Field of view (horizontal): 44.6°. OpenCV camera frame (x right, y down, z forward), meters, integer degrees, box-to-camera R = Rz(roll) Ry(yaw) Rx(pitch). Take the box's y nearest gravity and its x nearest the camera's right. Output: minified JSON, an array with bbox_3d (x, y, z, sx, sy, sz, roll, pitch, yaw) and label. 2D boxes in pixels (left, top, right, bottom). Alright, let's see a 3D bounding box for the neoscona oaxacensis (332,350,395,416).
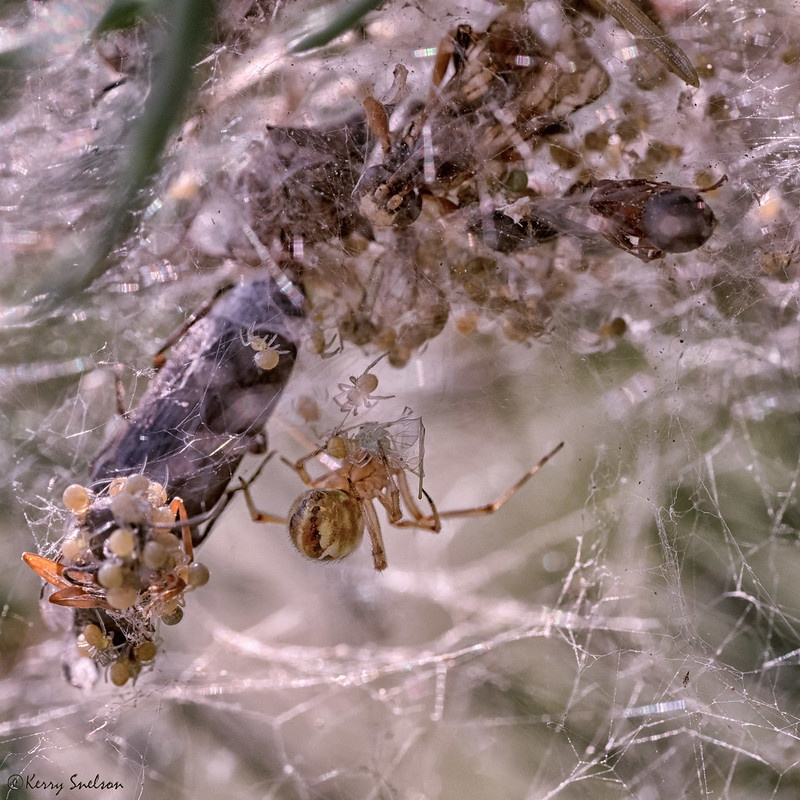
[{"bbox_3d":[-0.108,-0.019,2.671,0.157,0.173,0.100,8,67,4],"label":"neoscona oaxacensis"}]
